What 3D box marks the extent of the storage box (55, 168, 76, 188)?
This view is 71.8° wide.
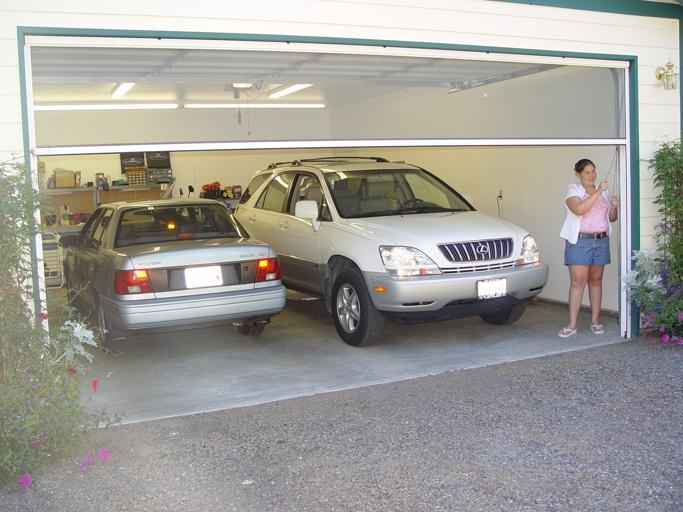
[{"bbox_3d":[-6.896,-1.949,11.886,0.479,0.299,0.489,-4,16,-18],"label":"storage box"}]

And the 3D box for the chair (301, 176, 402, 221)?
[{"bbox_3d":[0.270,-0.861,6.872,0.669,0.500,1.077,-4,10,-15],"label":"chair"}]

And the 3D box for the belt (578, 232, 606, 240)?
[{"bbox_3d":[3.330,-0.268,6.246,0.390,0.095,0.085,-3,5,-15],"label":"belt"}]

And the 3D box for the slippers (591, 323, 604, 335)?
[{"bbox_3d":[3.565,1.017,6.593,0.098,0.061,0.203,-2,8,0],"label":"slippers"}]

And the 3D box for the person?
[{"bbox_3d":[3.306,-0.103,6.377,0.623,2.381,0.724,2,6,38],"label":"person"}]

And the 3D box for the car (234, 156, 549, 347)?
[{"bbox_3d":[0.325,-0.216,7.116,2.309,1.736,4.133,-4,10,-25],"label":"car"}]

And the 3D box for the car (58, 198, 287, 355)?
[{"bbox_3d":[-1.920,0.155,5.642,1.770,1.153,2.868,-5,4,-28],"label":"car"}]
